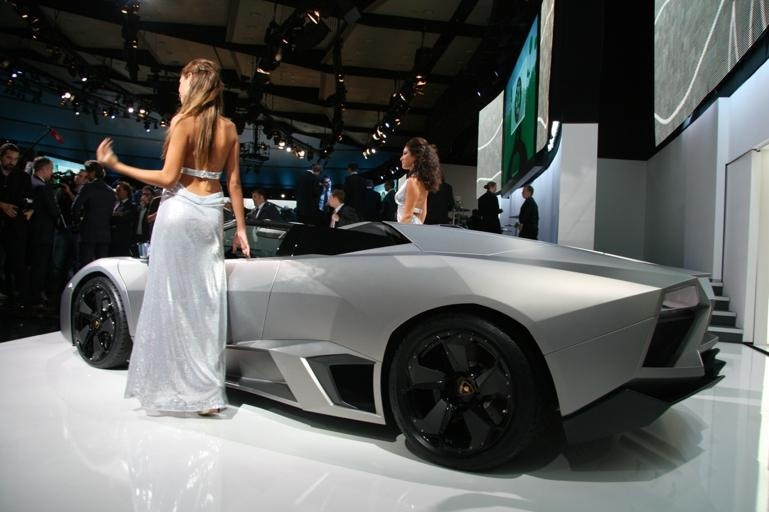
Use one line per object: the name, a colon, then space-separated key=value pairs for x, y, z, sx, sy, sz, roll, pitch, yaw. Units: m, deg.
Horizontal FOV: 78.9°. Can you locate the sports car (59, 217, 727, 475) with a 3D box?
sports car: x=0.289 y=0.262 z=3.378 sx=3.197 sy=0.942 sz=1.748 roll=11 pitch=3 yaw=22

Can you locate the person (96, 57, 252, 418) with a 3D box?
person: x=-1.657 y=-0.200 z=3.756 sx=1.141 sy=2.768 sz=0.628 roll=2 pitch=-5 yaw=-26
